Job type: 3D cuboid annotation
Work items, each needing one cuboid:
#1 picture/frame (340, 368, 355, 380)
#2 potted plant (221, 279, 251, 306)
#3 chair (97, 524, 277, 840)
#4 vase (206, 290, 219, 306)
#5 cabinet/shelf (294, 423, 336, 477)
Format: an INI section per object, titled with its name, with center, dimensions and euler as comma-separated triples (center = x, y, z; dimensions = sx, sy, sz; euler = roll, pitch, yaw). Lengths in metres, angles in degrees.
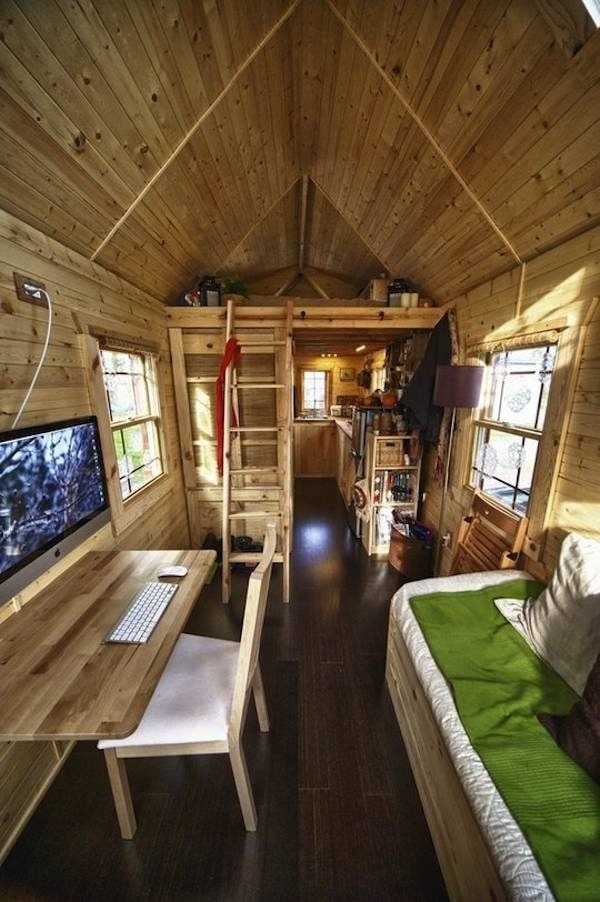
[picture/frame]
center = 0.660, -1.148, 6.740
dimensions = 0.171, 0.148, 0.014
euler = 5, 25, -10
[potted plant]
center = -0.458, -1.166, 3.418
dimensions = 0.221, 0.153, 0.247
euler = 0, 3, 7
[chair]
center = -0.413, 0.829, 1.709
dimensions = 0.663, 0.888, 0.622
euler = 5, 14, 22
[vase]
center = -0.608, -1.092, 3.301
dimensions = 0.101, 0.135, 0.073
euler = 0, 10, -5
[cabinet/shelf]
center = 0.173, -0.066, 5.895
dimensions = 0.590, 0.576, 0.325
euler = -1, 21, -3
